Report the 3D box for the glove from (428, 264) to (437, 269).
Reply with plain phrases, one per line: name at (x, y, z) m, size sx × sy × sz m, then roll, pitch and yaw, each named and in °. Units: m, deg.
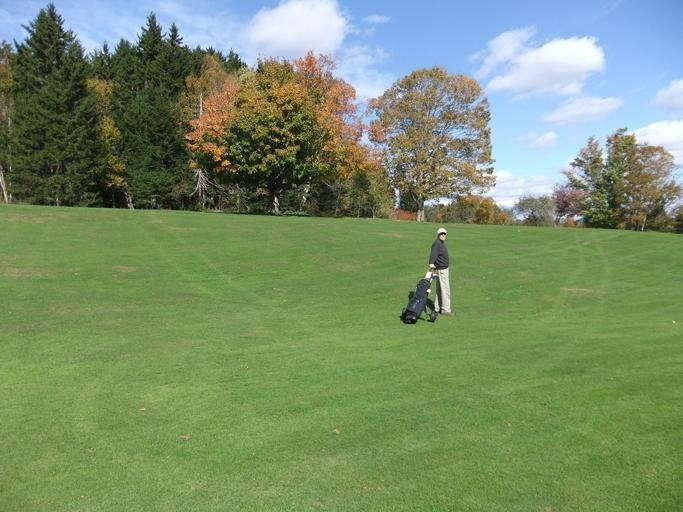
glove at (2.376, 0.274, 13.020) m, size 0.148 × 0.111 × 0.153 m, roll 2°, pitch -28°, yaw -13°
